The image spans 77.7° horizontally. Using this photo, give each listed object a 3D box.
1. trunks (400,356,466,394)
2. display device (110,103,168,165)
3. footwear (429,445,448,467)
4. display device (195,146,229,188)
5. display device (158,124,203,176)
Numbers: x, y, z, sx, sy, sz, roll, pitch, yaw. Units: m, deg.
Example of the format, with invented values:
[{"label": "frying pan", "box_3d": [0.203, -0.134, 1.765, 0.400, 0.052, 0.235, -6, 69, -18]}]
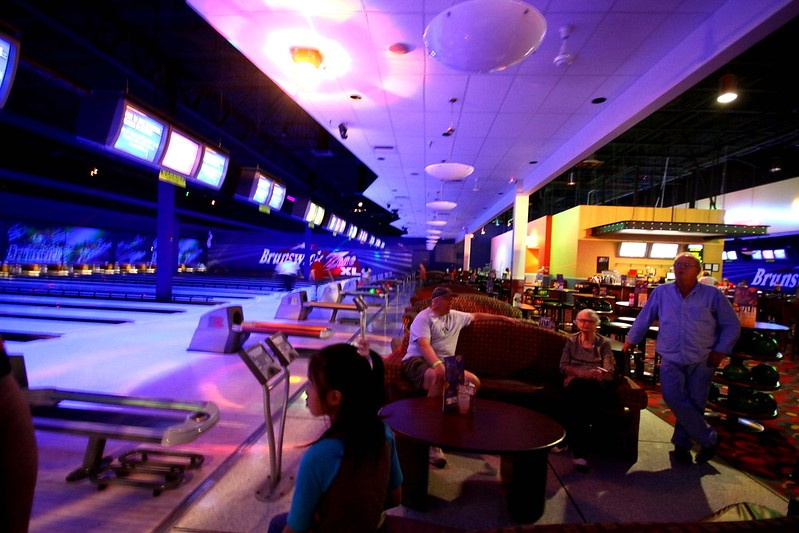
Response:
[{"label": "trunks", "box_3d": [0.300, 1.199, 5.559, 0.549, 0.197, 0.507, 6, 30, 19]}, {"label": "display device", "box_3d": [-3.479, -1.784, 6.643, 0.118, 0.584, 0.848, 19, -8, 18]}, {"label": "footwear", "box_3d": [0.397, 1.968, 5.156, 0.220, 0.124, 0.319, 7, -4, 1]}, {"label": "display device", "box_3d": [-2.995, -1.598, 7.898, 0.308, 0.576, 0.640, 11, -12, 20]}, {"label": "display device", "box_3d": [-3.205, -1.684, 7.227, 0.113, 0.574, 0.830, 19, 0, 14]}]
